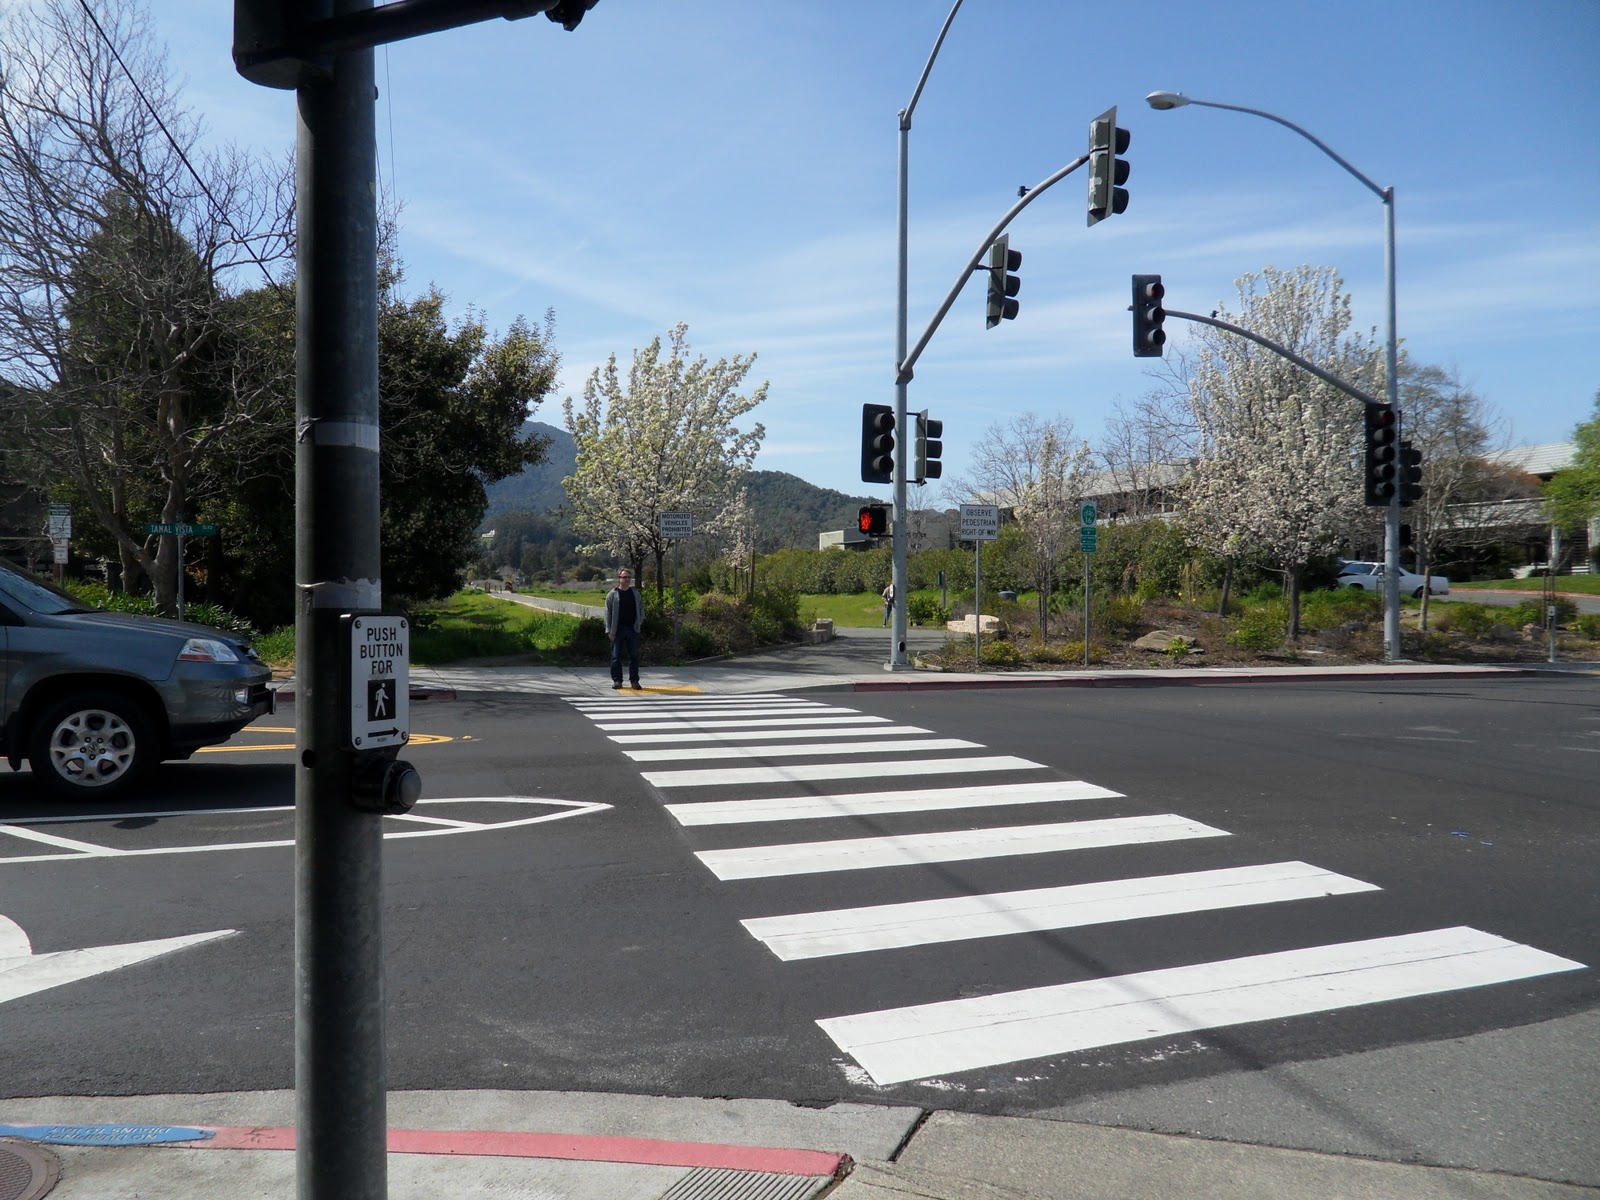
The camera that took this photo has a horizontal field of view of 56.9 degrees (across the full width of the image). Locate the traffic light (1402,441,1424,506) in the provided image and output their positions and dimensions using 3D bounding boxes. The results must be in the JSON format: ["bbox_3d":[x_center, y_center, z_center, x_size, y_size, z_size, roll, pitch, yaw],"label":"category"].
[{"bbox_3d":[10.892,-2.223,26.301,0.330,1.120,1.250,5,12,25],"label":"traffic light"}]

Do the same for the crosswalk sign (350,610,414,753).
[{"bbox_3d":[-1.877,0.359,6.554,0.260,0.587,0.123,-6,12,-31],"label":"crosswalk sign"}]

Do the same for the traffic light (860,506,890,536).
[{"bbox_3d":[1.350,-1.386,25.624,0.786,0.581,0.309,-10,15,-42],"label":"traffic light"}]

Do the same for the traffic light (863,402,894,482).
[{"bbox_3d":[1.341,-2.586,24.600,0.488,1.327,0.963,2,11,6],"label":"traffic light"}]

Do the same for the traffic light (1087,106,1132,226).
[{"bbox_3d":[3.653,-5.121,17.337,0.424,1.307,1.254,2,11,9],"label":"traffic light"}]

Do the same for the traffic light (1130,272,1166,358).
[{"bbox_3d":[5.257,-4.288,22.228,0.409,1.133,0.263,1,11,2],"label":"traffic light"}]
